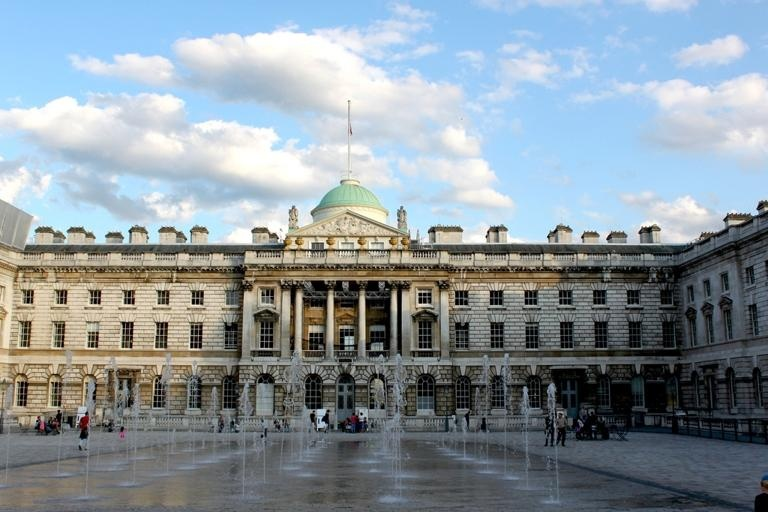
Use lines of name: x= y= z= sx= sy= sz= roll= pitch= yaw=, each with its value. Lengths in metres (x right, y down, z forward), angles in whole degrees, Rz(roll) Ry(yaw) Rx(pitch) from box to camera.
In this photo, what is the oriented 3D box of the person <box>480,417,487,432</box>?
person: x=8.439 y=14.190 z=91.958 sx=0.470 sy=1.207 sz=1.620 roll=-5 pitch=-14 yaw=12
